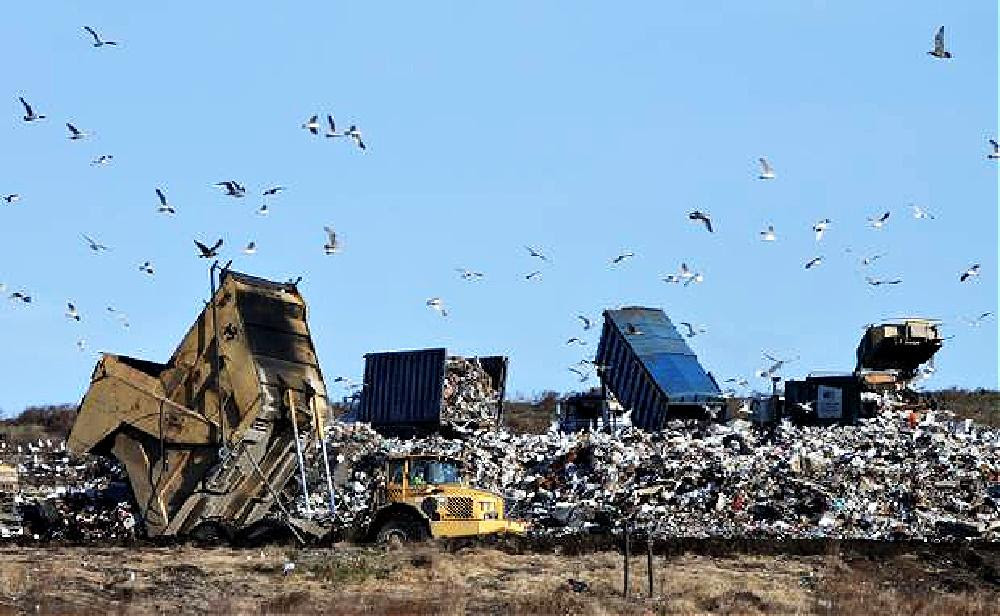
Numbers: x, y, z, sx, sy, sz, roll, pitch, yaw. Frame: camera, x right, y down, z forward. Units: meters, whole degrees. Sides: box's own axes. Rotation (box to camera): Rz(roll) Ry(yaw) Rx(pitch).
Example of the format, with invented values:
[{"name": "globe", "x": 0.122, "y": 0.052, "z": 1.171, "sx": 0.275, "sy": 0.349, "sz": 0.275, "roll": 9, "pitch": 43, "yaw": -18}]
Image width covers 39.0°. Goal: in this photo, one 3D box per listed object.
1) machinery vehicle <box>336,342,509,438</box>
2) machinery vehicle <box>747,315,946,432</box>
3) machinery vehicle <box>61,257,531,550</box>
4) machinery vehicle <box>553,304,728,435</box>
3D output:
[{"name": "machinery vehicle", "x": -1.922, "y": 2.685, "z": 42.312, "sx": 4.821, "sy": 3.365, "sz": 3.005, "roll": 3, "pitch": 1, "yaw": 37}, {"name": "machinery vehicle", "x": 10.449, "y": 2.344, "z": 41.571, "sx": 2.604, "sy": 3.495, "sz": 5.518, "roll": 4, "pitch": -6, "yaw": -20}, {"name": "machinery vehicle", "x": -2.923, "y": 2.666, "z": 33.638, "sx": 13.284, "sy": 7.341, "sz": 4.821, "roll": -3, "pitch": -4, "yaw": 25}, {"name": "machinery vehicle", "x": 4.145, "y": 2.571, "z": 41.622, "sx": 3.156, "sy": 5.752, "sz": 3.543, "roll": -2, "pitch": -50, "yaw": -28}]
